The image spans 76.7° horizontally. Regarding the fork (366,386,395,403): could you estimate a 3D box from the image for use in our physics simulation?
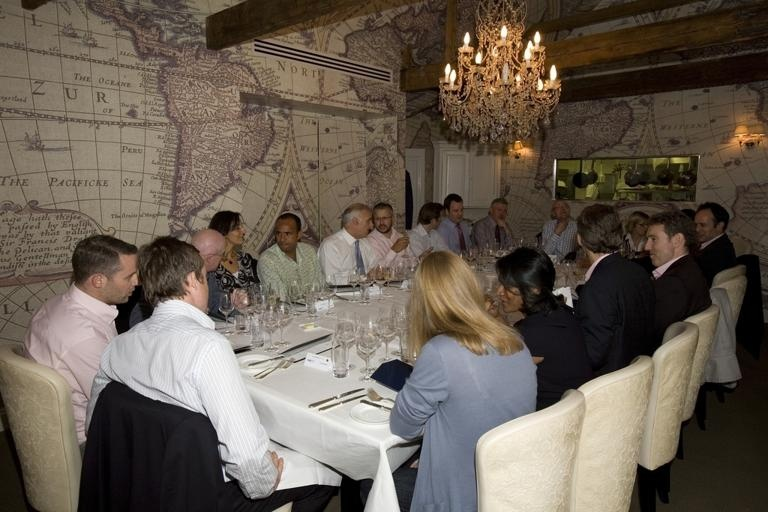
[{"bbox_3d":[-0.023,0.728,2.519,0.222,0.043,0.053,7,21,35],"label":"fork"}]

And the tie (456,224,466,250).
[{"bbox_3d":[1.042,-0.253,6.452,0.066,0.296,0.214,-4,12,21],"label":"tie"}]

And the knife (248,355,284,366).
[{"bbox_3d":[-0.688,0.611,2.826,0.021,0.021,0.202,36,21,27],"label":"knife"}]

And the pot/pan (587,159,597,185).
[{"bbox_3d":[3.572,-1.437,8.294,0.185,0.340,0.057,-1,6,-16],"label":"pot/pan"}]

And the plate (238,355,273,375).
[{"bbox_3d":[-0.754,0.622,2.797,0.111,0.016,0.113,6,12,14],"label":"plate"}]

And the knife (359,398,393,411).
[{"bbox_3d":[-0.039,0.758,2.467,0.130,0.010,0.019,12,40,21],"label":"knife"}]

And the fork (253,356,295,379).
[{"bbox_3d":[-0.621,0.640,2.753,0.065,0.035,0.254,19,24,28],"label":"fork"}]

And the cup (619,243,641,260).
[{"bbox_3d":[2.473,-0.045,4.859,0.193,0.100,0.269,11,18,18],"label":"cup"}]
